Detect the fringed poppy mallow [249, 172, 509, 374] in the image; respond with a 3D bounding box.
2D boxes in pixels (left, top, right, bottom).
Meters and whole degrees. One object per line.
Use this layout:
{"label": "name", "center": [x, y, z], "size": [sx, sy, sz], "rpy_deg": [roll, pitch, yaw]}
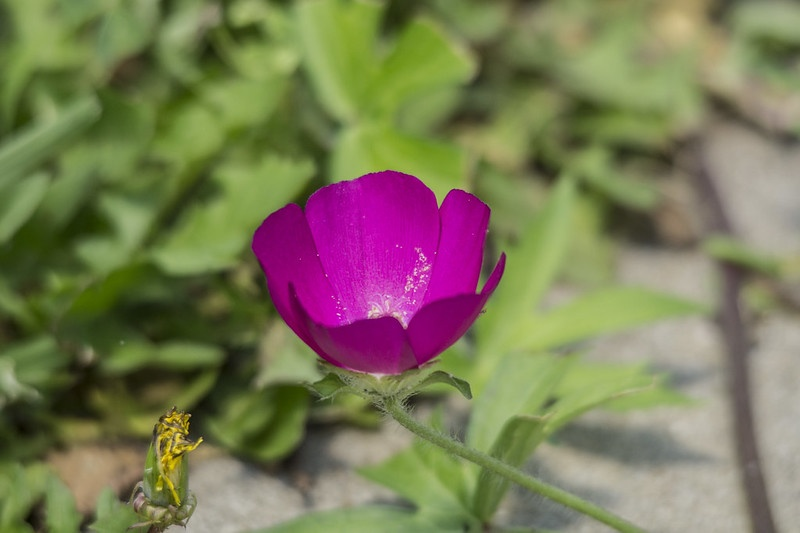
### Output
{"label": "fringed poppy mallow", "center": [-0.005, 0.009, 0.769], "size": [0.184, 0.200, 0.101], "rpy_deg": [-20, -52, -9]}
